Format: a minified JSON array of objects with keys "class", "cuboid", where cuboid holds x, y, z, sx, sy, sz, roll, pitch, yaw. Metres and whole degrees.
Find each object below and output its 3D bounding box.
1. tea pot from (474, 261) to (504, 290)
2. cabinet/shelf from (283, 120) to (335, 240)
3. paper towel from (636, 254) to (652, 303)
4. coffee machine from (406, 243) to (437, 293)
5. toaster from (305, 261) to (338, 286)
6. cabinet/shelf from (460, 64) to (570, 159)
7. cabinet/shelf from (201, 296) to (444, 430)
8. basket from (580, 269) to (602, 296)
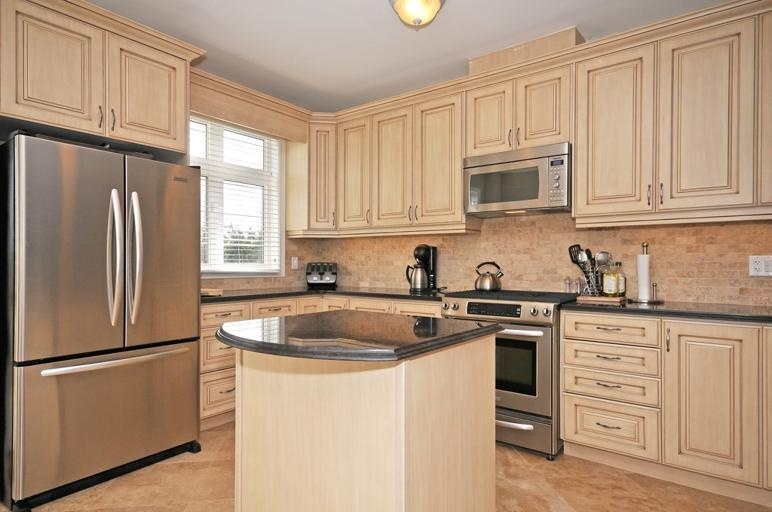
[{"class":"tea pot","cuboid":[0.922,0.187,5.015,0.334,0.258,0.214,-2,-3,13]},{"class":"cabinet/shelf","cuboid":[-0.781,-0.787,5.760,0.528,1.168,0.186,0,0,-1]},{"class":"paper towel","cuboid":[1.986,0.171,4.337,0.119,0.370,0.118,-20,24,-41]},{"class":"coffee machine","cuboid":[0.339,0.113,5.391,0.291,0.460,0.483,0,0,4]},{"class":"toaster","cuboid":[-0.641,0.176,5.803,0.463,0.263,0.225,1,1,1]},{"class":"cabinet/shelf","cuboid":[1.065,-1.192,4.699,1.163,0.645,0.649,0,-2,34]},{"class":"cabinet/shelf","cuboid":[-0.614,0.848,4.739,1.523,0.756,1.466,-3,-5,33]},{"class":"basket","cuboid":[1.646,0.218,4.522,0.137,0.191,0.162,0,0,19]}]
